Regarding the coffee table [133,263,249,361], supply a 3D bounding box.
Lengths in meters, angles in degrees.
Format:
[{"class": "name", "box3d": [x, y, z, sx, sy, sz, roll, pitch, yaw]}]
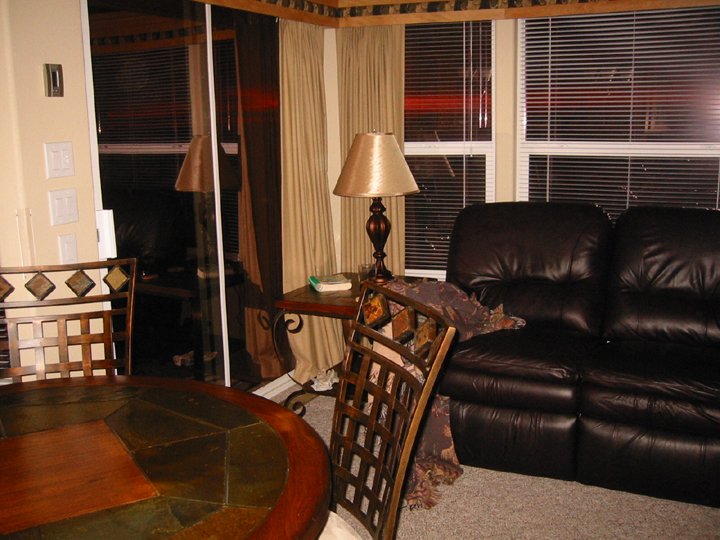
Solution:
[{"class": "coffee table", "box3d": [-1.011, 0.228, 3.347, 0.564, 0.488, 0.586, -1, 4, 22]}]

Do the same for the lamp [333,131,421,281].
[{"class": "lamp", "box3d": [0.115, -0.396, 3.665, 0.502, 0.915, 0.534, -2, 11, 5]}]

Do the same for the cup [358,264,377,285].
[{"class": "cup", "box3d": [0.042, 0.016, 3.757, 0.135, 0.116, 0.119, 1, -4, -12]}]
